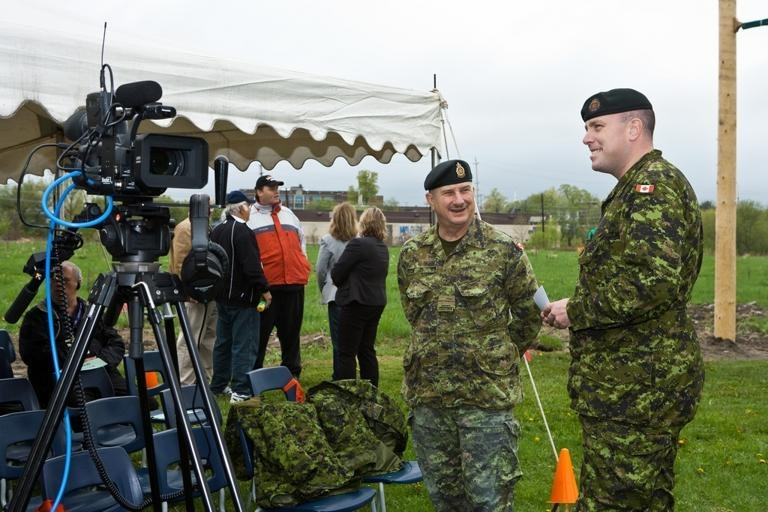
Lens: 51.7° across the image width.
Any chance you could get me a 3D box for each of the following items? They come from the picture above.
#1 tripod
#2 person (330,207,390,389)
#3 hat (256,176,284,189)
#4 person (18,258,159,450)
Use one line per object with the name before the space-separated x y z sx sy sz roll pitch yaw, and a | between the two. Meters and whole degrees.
tripod | -1.734 0.933 5.401 1.503 1.780 0.603 -1 1 -13
person | -0.278 0.489 9.181 0.682 2.113 0.464 -1 1 -21
hat | -1.371 -0.883 9.353 0.281 0.157 0.195 -1 2 -5
person | -2.779 0.949 7.362 1.003 1.855 0.870 -20 -8 35
